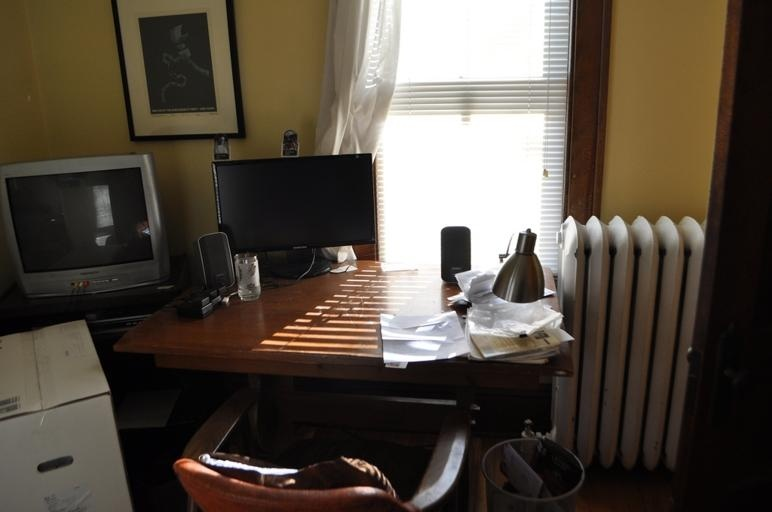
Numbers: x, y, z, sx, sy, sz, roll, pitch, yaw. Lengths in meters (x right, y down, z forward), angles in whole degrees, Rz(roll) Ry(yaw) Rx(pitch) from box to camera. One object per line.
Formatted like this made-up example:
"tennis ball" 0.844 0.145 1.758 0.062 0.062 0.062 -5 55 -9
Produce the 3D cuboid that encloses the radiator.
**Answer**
"radiator" 1.008 0.358 2.447 0.735 1.083 0.278 4 3 7

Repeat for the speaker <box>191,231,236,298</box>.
"speaker" -0.731 0.001 2.580 0.152 0.254 0.161 6 22 30

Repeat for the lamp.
"lamp" 0.486 0.024 2.058 0.174 0.246 0.180 14 19 26

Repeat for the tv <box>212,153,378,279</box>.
"tv" -0.420 -0.184 2.631 0.535 0.412 0.161 -3 13 -4

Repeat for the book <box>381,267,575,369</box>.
"book" 0.309 0.235 2.151 0.663 0.199 0.476 -3 15 3
